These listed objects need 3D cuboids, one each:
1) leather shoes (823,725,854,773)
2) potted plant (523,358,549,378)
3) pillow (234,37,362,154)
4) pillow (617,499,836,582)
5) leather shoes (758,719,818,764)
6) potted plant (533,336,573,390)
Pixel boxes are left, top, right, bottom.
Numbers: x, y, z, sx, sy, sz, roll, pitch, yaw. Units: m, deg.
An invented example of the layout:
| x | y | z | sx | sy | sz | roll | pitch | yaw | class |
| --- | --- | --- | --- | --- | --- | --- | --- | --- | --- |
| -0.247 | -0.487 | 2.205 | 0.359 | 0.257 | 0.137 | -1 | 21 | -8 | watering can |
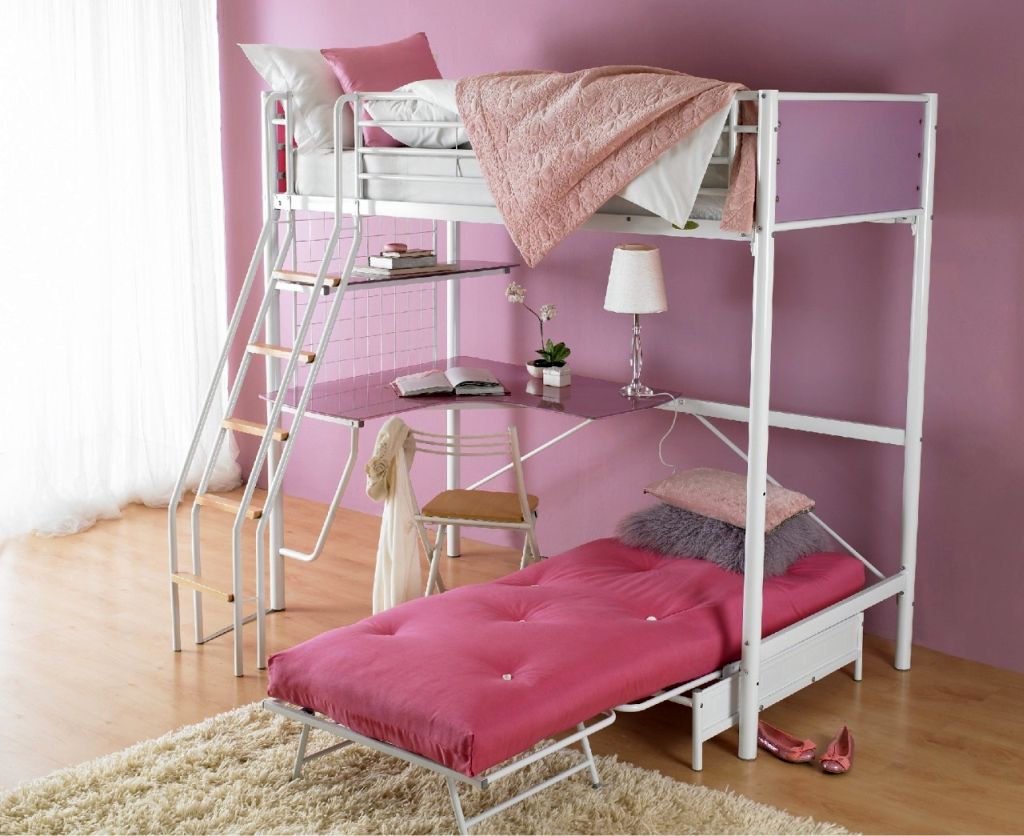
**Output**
| x | y | z | sx | sy | sz | roll | pitch | yaw | class |
| --- | --- | --- | --- | --- | --- | --- | --- | --- | --- |
| 1.050 | 1.053 | 3.189 | 0.062 | 0.060 | 0.164 | 2 | 11 | 29 | leather shoes |
| 0.101 | -0.224 | 4.496 | 0.091 | 0.038 | 0.110 | -8 | 16 | -24 | potted plant |
| -0.912 | -1.334 | 4.165 | 0.551 | 0.462 | 0.160 | -11 | -4 | -39 | pillow |
| 0.746 | 0.433 | 3.651 | 0.461 | 0.114 | 0.346 | 7 | 11 | 36 | pillow |
| 0.892 | 1.045 | 3.236 | 0.080 | 0.043 | 0.180 | -13 | 12 | -38 | leather shoes |
| 0.172 | -0.249 | 4.518 | 0.184 | 0.218 | 0.248 | 8 | 15 | 33 | potted plant |
